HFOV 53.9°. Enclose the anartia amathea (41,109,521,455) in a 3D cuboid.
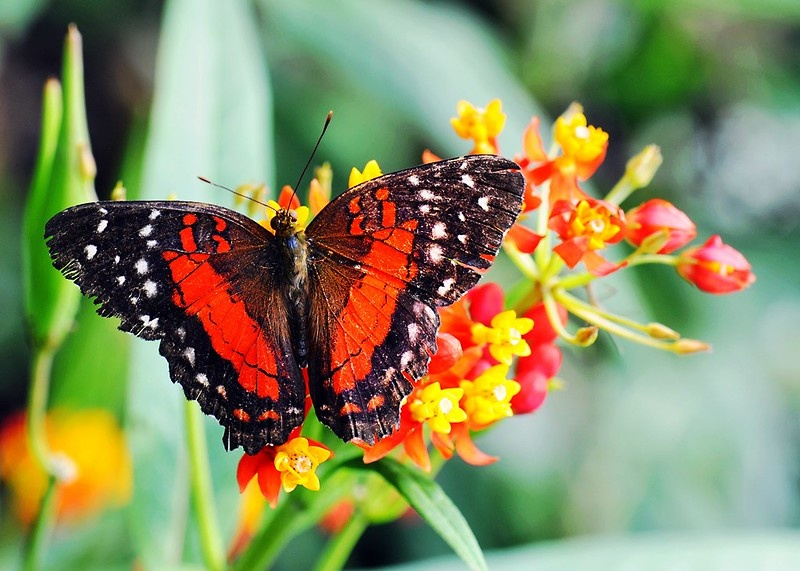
[{"bbox_3d":[-0.241,0.013,1.398,0.663,0.092,0.500,-9,84,4],"label":"anartia amathea"}]
